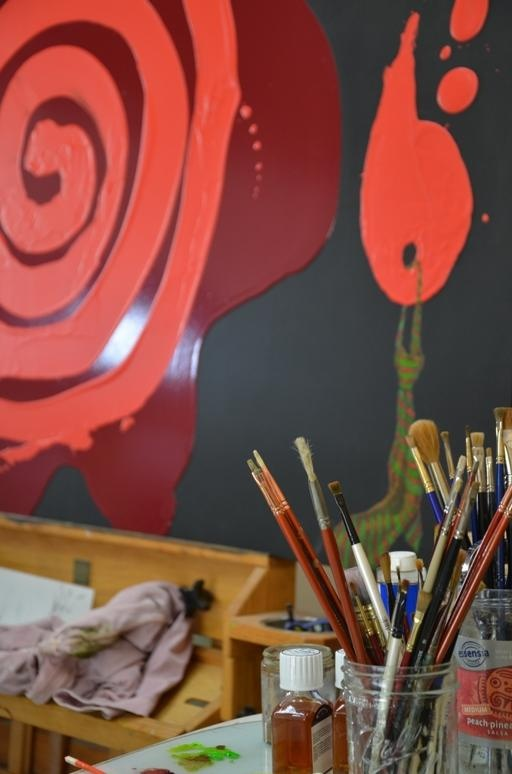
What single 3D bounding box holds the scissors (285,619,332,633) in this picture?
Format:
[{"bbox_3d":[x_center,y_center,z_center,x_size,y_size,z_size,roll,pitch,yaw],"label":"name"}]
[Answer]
[{"bbox_3d":[0.103,0.463,1.309,0.068,0.014,0.066,2,1,-35],"label":"scissors"}]
